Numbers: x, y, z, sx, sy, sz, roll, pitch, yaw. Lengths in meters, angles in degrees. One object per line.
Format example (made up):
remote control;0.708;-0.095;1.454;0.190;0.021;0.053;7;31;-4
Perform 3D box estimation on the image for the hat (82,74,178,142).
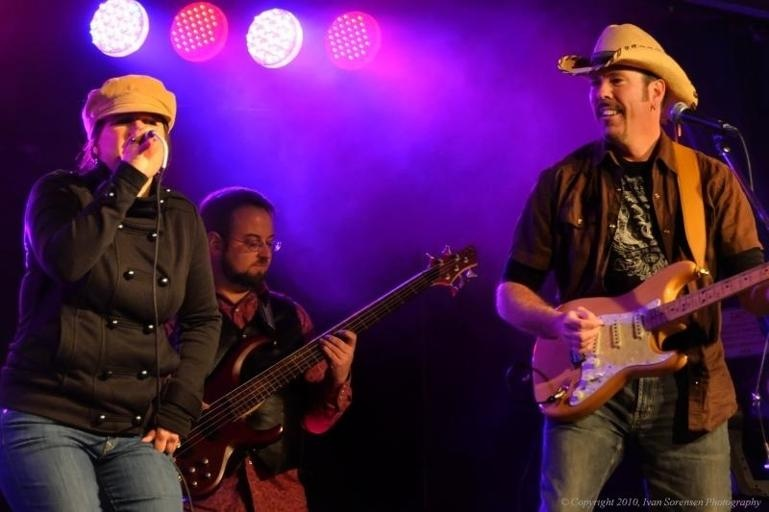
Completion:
hat;-1.146;-0.674;3.125;0.412;0.194;0.548;-7;-7;-22
